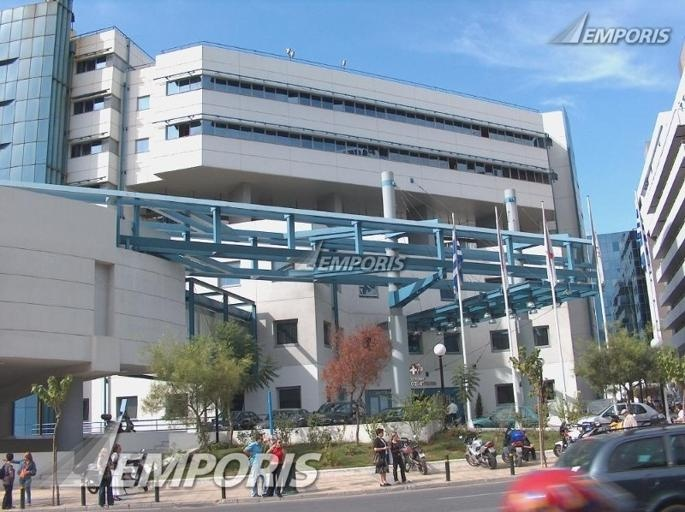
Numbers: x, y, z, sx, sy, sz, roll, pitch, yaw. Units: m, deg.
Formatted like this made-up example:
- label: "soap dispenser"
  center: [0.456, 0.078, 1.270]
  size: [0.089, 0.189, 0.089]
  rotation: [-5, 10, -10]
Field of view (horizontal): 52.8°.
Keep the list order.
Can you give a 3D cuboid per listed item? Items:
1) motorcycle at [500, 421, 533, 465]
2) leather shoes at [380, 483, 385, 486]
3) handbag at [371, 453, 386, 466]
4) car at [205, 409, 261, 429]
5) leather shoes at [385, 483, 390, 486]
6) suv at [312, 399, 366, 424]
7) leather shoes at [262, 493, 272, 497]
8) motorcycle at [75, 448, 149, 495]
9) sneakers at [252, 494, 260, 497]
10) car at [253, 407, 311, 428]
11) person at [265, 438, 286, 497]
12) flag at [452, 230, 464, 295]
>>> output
- label: "motorcycle"
  center: [7.222, 7.916, 28.432]
  size: [1.018, 1.297, 2.090]
  rotation: [-2, -4, 11]
- label: "leather shoes"
  center: [1.488, 8.549, 25.770]
  size: [0.112, 0.121, 0.310]
  rotation: [8, -21, -32]
- label: "handbag"
  center: [1.429, 7.762, 26.361]
  size: [0.465, 0.475, 0.241]
  rotation: [-9, -17, 17]
- label: "car"
  center: [-6.159, 9.436, 39.696]
  size: [2.676, 1.423, 5.251]
  rotation: [-1, -18, -9]
- label: "leather shoes"
  center: [1.677, 8.553, 25.826]
  size: [0.201, 0.104, 0.435]
  rotation: [-4, -18, 2]
- label: "suv"
  center: [-0.469, 8.763, 38.562]
  size: [2.552, 1.253, 1.540]
  rotation: [13, -19, -38]
- label: "leather shoes"
  center: [-2.799, 8.842, 25.530]
  size: [0.348, 0.127, 0.188]
  rotation: [-7, -17, 10]
- label: "motorcycle"
  center: [-10.121, 9.317, 29.611]
  size: [2.941, 1.994, 1.524]
  rotation: [-2, -7, 3]
- label: "sneakers"
  center: [-3.205, 8.858, 25.468]
  size: [0.247, 0.062, 0.153]
  rotation: [11, -22, -38]
- label: "car"
  center: [-3.229, 9.400, 38.676]
  size: [2.760, 1.417, 1.621]
  rotation: [3, -11, -5]
- label: "person"
  center: [-2.528, 7.933, 25.804]
  size: [0.584, 2.036, 1.127]
  rotation: [-1, -17, -6]
- label: "flag"
  center: [6.287, 0.087, 38.067]
  size: [0.535, 3.731, 2.143]
  rotation: [-5, -17, 8]
